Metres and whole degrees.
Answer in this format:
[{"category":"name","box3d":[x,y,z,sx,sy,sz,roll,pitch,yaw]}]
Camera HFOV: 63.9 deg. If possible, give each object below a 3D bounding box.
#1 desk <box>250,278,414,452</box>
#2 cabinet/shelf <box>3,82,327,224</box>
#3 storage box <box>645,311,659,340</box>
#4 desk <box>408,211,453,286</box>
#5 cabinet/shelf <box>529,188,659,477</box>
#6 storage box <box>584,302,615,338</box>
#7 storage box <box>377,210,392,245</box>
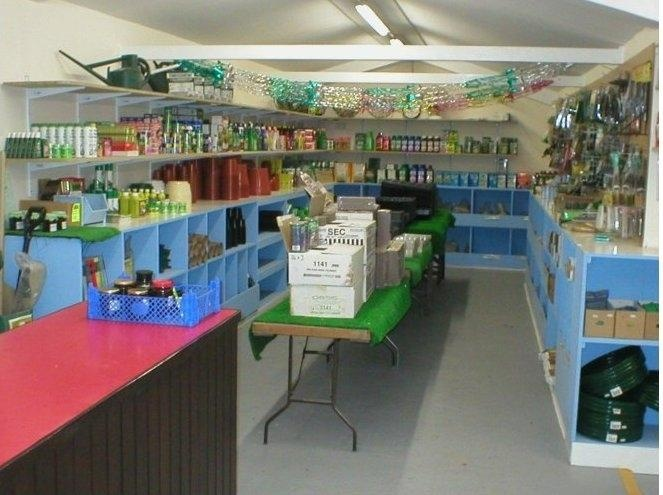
[{"category":"desk","box3d":[0.131,0.831,4.723,1.039,0.882,2.134,3,9,17]},{"category":"cabinet/shelf","box3d":[-1.805,-1.293,6.500,0.706,1.086,4.991,4,11,16]},{"category":"storage box","box3d":[2.222,0.546,3.675,0.109,0.215,0.053,-2,11,-14]},{"category":"desk","box3d":[1.303,-0.004,7.029,0.580,0.434,1.237,4,11,18]},{"category":"cabinet/shelf","box3d":[2.336,0.577,4.932,0.681,1.546,2.842,3,11,12]},{"category":"storage box","box3d":[1.856,0.508,3.757,0.205,0.187,0.201,3,6,12]},{"category":"storage box","box3d":[0.440,-0.164,4.543,0.116,0.311,0.086,1,11,2]}]
